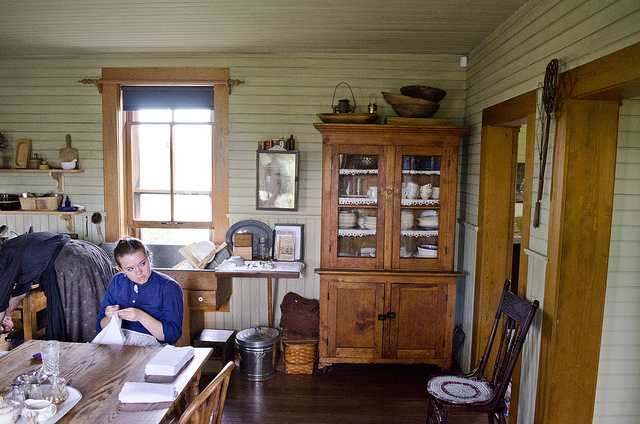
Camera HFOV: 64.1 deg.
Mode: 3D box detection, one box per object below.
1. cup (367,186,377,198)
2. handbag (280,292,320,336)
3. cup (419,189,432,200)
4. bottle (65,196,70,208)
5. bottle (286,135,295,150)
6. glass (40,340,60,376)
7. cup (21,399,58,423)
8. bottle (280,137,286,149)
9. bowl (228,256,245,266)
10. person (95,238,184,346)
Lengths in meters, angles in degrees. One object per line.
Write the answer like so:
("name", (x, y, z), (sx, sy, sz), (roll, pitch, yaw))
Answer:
("cup", (0.570, -0.217, 5.602), (0.113, 0.104, 0.110), (2, 2, 0))
("handbag", (-0.202, 1.159, 5.841), (0.543, 0.361, 0.278), (8, 8, 25))
("cup", (1.147, -0.193, 5.536), (0.112, 0.089, 0.116), (0, -1, 0))
("bottle", (-3.033, -0.118, 6.092), (0.049, 0.118, 0.072), (-1, 3, -27))
("bottle", (-0.343, -0.814, 5.915), (0.105, 0.174, 0.094), (-3, 4, -43))
("glass", (-1.941, 1.032, 3.654), (0.102, 0.208, 0.220), (-2, 3, -30))
("cup", (-1.892, 1.328, 3.436), (0.183, 0.073, 0.139), (9, -7, -10))
("bottle", (-0.436, -0.808, 5.952), (0.065, 0.141, 0.143), (0, 3, -3))
("bowl", (-0.950, 0.543, 5.728), (0.180, 0.089, 0.180), (0, 3, 0))
("person", (-1.552, 0.675, 4.287), (0.733, 0.911, 0.399), (0, 3, -7))
